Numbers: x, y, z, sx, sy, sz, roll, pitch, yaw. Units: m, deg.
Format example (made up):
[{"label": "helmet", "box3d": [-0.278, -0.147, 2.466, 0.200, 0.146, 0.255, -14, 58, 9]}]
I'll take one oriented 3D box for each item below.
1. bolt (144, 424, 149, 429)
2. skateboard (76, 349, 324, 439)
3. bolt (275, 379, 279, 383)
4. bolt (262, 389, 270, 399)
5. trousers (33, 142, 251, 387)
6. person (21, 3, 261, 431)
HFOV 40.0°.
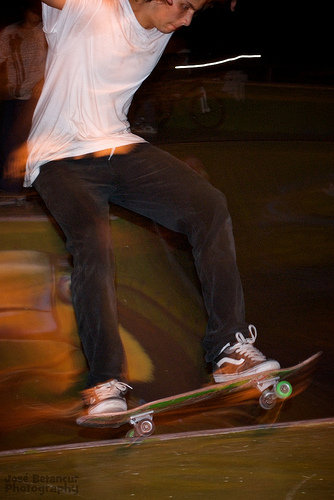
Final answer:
[{"label": "bolt", "box3d": [-0.056, 0.460, 1.203, 0.015, 0.004, 0.018, 0, 2, -4]}, {"label": "skateboard", "box3d": [0.077, 0.409, 1.279, 0.616, 0.140, 0.092, -10, 54, -10]}, {"label": "bolt", "box3d": [0.310, 0.367, 1.296, 0.011, 0.011, 0.004, 0, -6, -4]}, {"label": "bolt", "box3d": [0.280, 0.407, 1.304, 0.028, 0.026, 0.027, -2, -7, 9]}, {"label": "trousers", "box3d": [-0.088, 0.004, 1.341, 0.560, 0.639, 0.442, 1, 12, -18]}, {"label": "person", "box3d": [-0.087, -0.145, 1.311, 0.544, 1.129, 0.596, -1, 13, -24]}]
